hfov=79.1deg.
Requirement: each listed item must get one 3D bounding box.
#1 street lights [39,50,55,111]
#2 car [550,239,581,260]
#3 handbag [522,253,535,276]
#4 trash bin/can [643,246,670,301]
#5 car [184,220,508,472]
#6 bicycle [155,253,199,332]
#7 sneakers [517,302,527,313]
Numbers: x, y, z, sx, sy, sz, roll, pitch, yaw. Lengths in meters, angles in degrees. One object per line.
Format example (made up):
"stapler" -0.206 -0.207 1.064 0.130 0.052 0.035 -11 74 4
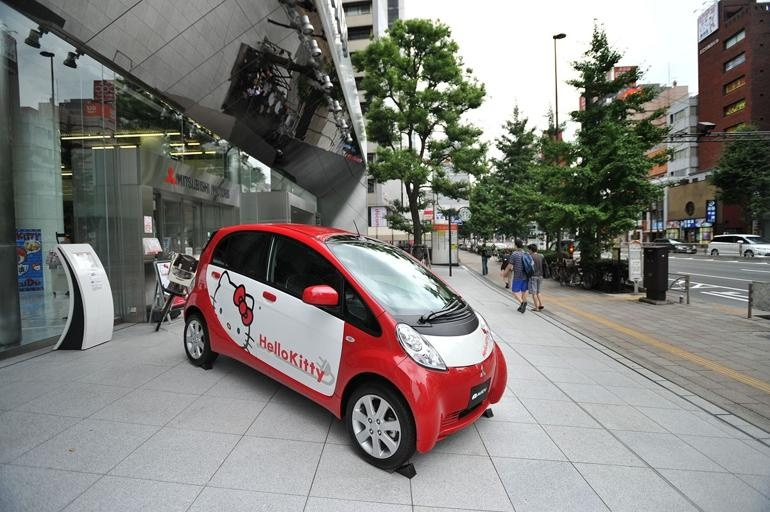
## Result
"street lights" -6.555 -3.474 9.034 0.047 1.070 0.266 2 4 18
"car" 9.548 -0.427 24.310 1.084 0.842 6.111 3 3 22
"handbag" 4.072 0.260 13.195 0.278 0.690 0.364 -2 5 -38
"trash bin/can" 8.983 0.477 15.361 0.548 1.803 0.834 -4 5 0
"car" -0.877 1.071 7.177 5.128 3.121 2.038 3 5 32
"bicycle" -4.838 0.812 10.605 0.958 1.530 0.913 3 -2 19
"sneakers" 3.891 1.460 13.225 0.161 0.167 0.392 -10 -10 -8
